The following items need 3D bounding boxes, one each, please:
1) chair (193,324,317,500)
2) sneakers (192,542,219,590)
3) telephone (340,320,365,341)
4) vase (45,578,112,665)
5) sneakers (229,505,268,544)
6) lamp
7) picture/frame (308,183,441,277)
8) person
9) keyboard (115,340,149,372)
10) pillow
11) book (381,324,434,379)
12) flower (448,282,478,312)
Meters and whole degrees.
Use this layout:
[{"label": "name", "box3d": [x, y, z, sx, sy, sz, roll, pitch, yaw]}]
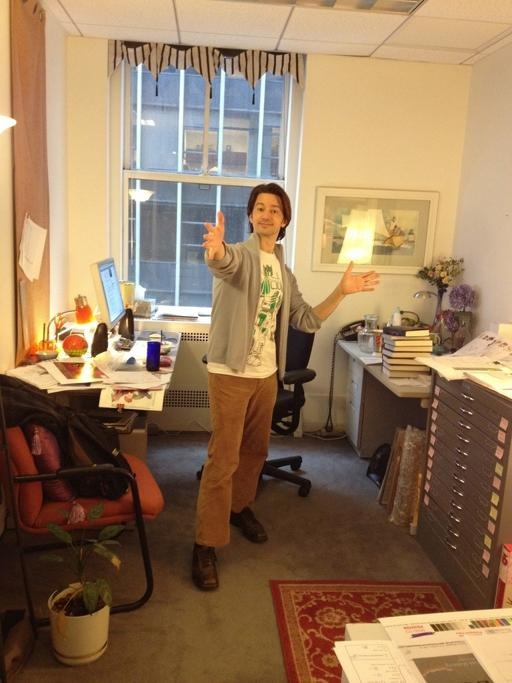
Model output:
[{"label": "chair", "box3d": [0.083, 0.337, 3.123, 0.640, 0.970, 0.639, 13, -7, 0]}, {"label": "sneakers", "box3d": [-0.199, 0.893, 2.130, 0.109, 0.135, 0.128, 3, 8, -4]}, {"label": "telephone", "box3d": [0.694, -0.082, 3.889, 0.126, 0.063, 0.176, -24, -5, 31]}, {"label": "vase", "box3d": [-0.553, 0.897, 1.670, 0.156, 0.160, 0.152, 2, 0, 3]}, {"label": "sneakers", "box3d": [-0.031, 0.870, 2.575, 0.082, 0.095, 0.225, -10, 13, -38]}, {"label": "lamp", "box3d": [-1.023, -0.084, 2.888, 0.269, 0.349, 0.136, 1, 22, -21]}, {"label": "picture/frame", "box3d": [0.818, -0.821, 3.809, 0.884, 0.600, 0.035, 1, 7, -5]}, {"label": "person", "box3d": [-0.047, 0.158, 2.216, 0.792, 1.595, 0.485, -3, 11, -41]}, {"label": "keyboard", "box3d": [-0.647, 0.076, 2.793, 0.139, 0.051, 0.216, 0, 16, -6]}, {"label": "pillow", "box3d": [-0.683, 0.408, 1.773, 0.095, 0.288, 0.148, 5, 8, 10]}, {"label": "book", "box3d": [0.772, 0.037, 2.931, 0.315, 0.297, 0.250, 0, 3, -1]}, {"label": "flower", "box3d": [1.331, -0.288, 3.461, 0.185, 0.189, 0.187, -4, 17, -9]}]
